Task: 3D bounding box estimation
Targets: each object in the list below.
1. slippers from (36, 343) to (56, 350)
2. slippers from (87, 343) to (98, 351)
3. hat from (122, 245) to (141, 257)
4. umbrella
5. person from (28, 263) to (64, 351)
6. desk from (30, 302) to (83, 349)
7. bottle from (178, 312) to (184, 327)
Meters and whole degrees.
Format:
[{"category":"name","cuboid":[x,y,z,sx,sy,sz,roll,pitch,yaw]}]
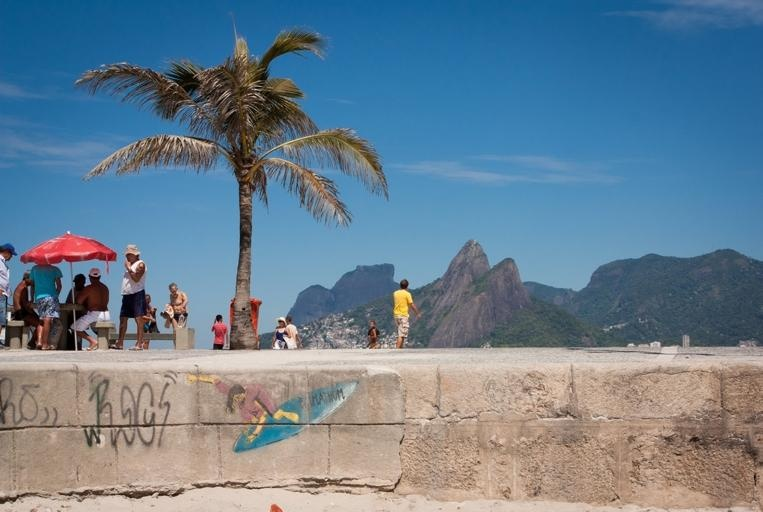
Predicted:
[{"category":"slippers","cuboid":[-6.992,1.890,28.370,0.236,0.159,0.473,-4,-12,9]},{"category":"slippers","cuboid":[-6.088,1.913,28.602,0.206,0.155,0.504,1,-12,-13]},{"category":"hat","cuboid":[-4.243,-0.061,23.018,0.344,0.184,0.330,4,-8,0]},{"category":"umbrella","cuboid":[-6.281,0.878,26.739,2.486,2.530,2.203,-1,-5,-2]},{"category":"person","cuboid":[-7.015,1.046,28.238,0.595,1.757,0.387,-1,-13,-5]},{"category":"desk","cuboid":[-6.886,1.522,29.141,1.000,0.880,0.983,3,-4,-41]},{"category":"bottle","cuboid":[-4.866,1.568,33.135,0.067,0.291,0.185,-11,-15,35]}]
